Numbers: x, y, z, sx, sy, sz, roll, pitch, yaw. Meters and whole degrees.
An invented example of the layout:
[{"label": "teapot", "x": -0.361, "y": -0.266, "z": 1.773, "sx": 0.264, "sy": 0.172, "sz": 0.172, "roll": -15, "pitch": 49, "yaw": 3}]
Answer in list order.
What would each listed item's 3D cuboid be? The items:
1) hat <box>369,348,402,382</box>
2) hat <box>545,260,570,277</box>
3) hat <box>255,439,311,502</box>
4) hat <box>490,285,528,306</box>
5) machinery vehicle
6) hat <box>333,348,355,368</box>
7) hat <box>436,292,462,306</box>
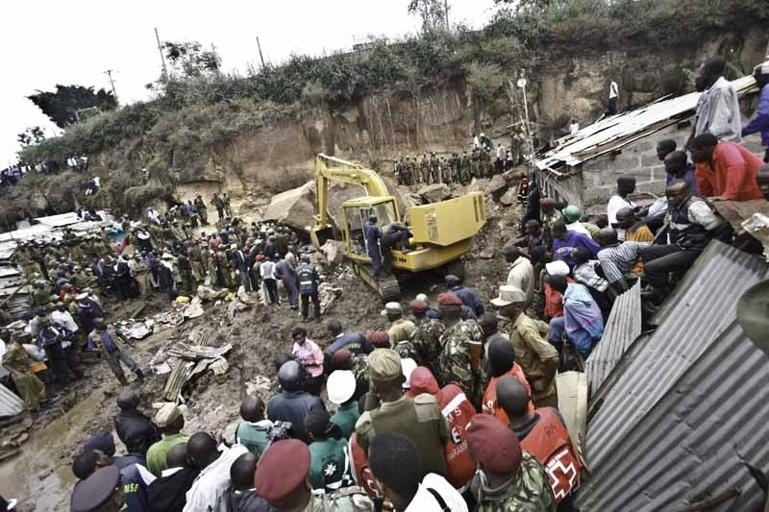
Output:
[{"label": "hat", "x": -0.002, "y": 1.523, "z": 7.146, "sx": 0.466, "sy": 0.378, "sz": 0.346, "roll": -18, "pitch": 17, "yaw": -5}, {"label": "hat", "x": 3.151, "y": 0.192, "z": 9.184, "sx": 0.351, "sy": 0.184, "sz": 0.265, "roll": 35, "pitch": 40, "yaw": 26}, {"label": "hat", "x": -1.316, "y": 2.725, "z": 6.501, "sx": 0.754, "sy": 0.564, "sz": 0.420, "roll": -20, "pitch": 17, "yaw": -12}, {"label": "hat", "x": 2.073, "y": 0.644, "z": 8.406, "sx": 0.456, "sy": 0.237, "sz": 0.353, "roll": -1, "pitch": 7, "yaw": 15}, {"label": "machinery vehicle", "x": -0.126, "y": -1.146, "z": 15.593, "sx": 3.362, "sy": 3.498, "sz": 6.563, "roll": -21, "pitch": 22, "yaw": -40}, {"label": "hat", "x": -0.702, "y": 1.729, "z": 8.604, "sx": 0.244, "sy": 0.259, "sz": 0.333, "roll": -2, "pitch": 20, "yaw": 12}, {"label": "hat", "x": 1.157, "y": 0.744, "z": 8.931, "sx": 0.537, "sy": 0.253, "sz": 0.661, "roll": 0, "pitch": -4, "yaw": 4}]
